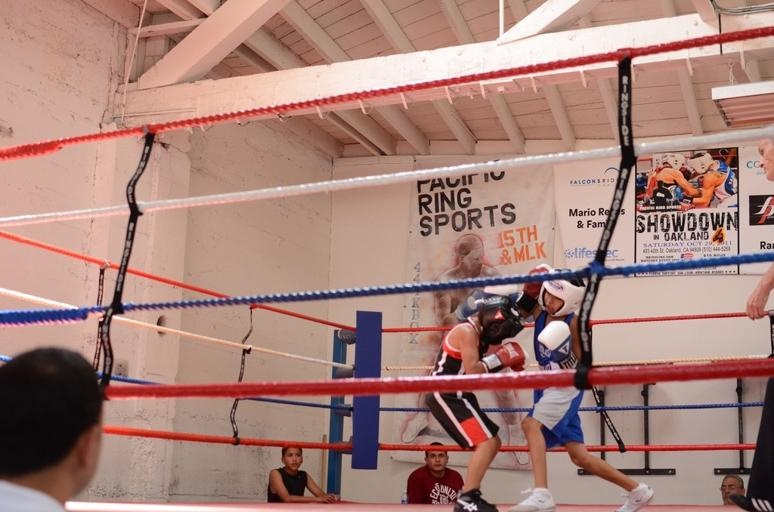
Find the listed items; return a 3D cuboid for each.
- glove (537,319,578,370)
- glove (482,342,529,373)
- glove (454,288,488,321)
[{"bbox_3d":[0.891,0.454,4.109,0.183,0.239,0.209,-1,-14,13],"label":"glove"},{"bbox_3d":[0.629,0.544,4.163,0.214,0.092,0.155,-9,-15,-24],"label":"glove"},{"bbox_3d":[0.480,0.266,4.256,0.199,0.115,0.063,-36,-22,2],"label":"glove"}]
